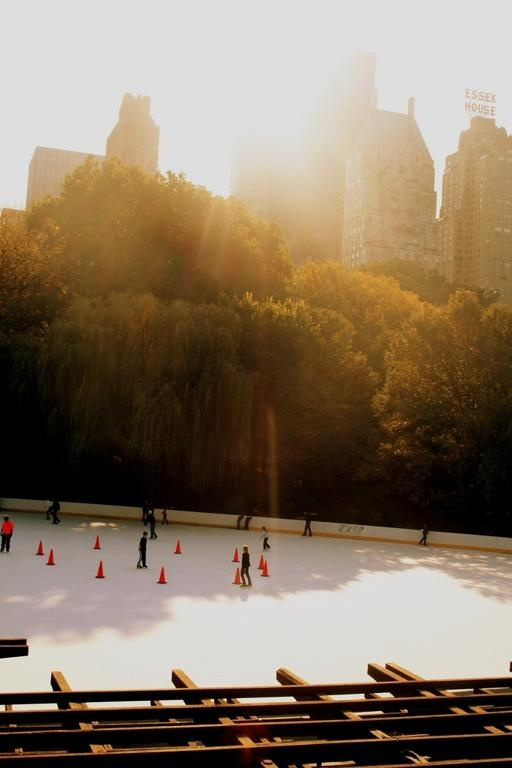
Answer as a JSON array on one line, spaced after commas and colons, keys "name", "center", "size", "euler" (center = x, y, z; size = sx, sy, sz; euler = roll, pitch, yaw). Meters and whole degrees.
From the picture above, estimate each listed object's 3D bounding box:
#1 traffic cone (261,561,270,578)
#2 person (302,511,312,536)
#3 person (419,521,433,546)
[{"name": "traffic cone", "center": [0.279, 4.667, 18.338], "size": [0.263, 0.302, 0.262], "euler": [0, 0, -14]}, {"name": "person", "center": [1.921, 5.257, 27.374], "size": [0.313, 0.809, 0.653], "euler": [3, -5, 4]}, {"name": "person", "center": [6.040, 5.434, 26.336], "size": [0.330, 0.735, 0.519], "euler": [2, -5, 7]}]
